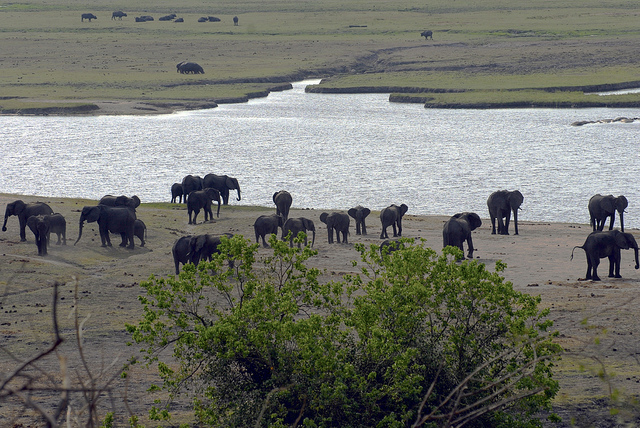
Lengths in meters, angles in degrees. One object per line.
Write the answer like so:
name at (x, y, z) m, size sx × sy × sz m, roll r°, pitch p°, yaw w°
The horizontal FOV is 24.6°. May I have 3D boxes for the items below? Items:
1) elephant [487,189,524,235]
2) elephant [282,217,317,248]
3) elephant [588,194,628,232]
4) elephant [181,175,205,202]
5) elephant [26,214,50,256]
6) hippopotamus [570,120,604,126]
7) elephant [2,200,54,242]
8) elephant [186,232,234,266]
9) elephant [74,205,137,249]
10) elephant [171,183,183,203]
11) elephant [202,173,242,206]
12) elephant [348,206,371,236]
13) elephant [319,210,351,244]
elephant at (15.409, -0.297, 122.639) m, size 2.608 × 3.715 × 1.720 m, roll 2°, pitch 4°, yaw 12°
elephant at (-1.710, 1.373, 119.719) m, size 3.080 × 2.396 × 1.785 m, roll -2°, pitch 5°, yaw -41°
elephant at (24.430, -0.399, 122.443) m, size 3.778 × 2.617 × 2.349 m, roll -2°, pitch 1°, yaw 45°
elephant at (-10.976, -2.469, 128.398) m, size 1.800 × 2.226 × 4.075 m, roll 1°, pitch 0°, yaw 28°
elephant at (-22.245, 1.604, 115.897) m, size 1.454 × 3.167 × 1.080 m, roll 1°, pitch 4°, yaw 1°
hippopotamus at (29.368, -10.301, 160.976) m, size 2.871 × 0.452 × 0.546 m, roll -5°, pitch -7°, yaw -18°
elephant at (-23.670, -0.118, 117.743) m, size 5.176 × 2.912 × 2.123 m, roll 1°, pitch 0°, yaw 4°
elephant at (-8.141, 2.502, 114.360) m, size 4.436 × 2.315 × 1.941 m, roll -1°, pitch 0°, yaw 1°
elephant at (-17.248, 0.993, 118.180) m, size 4.917 × 3.435 × 1.997 m, roll 3°, pitch 2°, yaw -5°
elephant at (-12.664, -2.039, 129.050) m, size 0.979 × 1.725 × 1.692 m, roll 1°, pitch 4°, yaw -6°
elephant at (-8.626, -2.221, 128.857) m, size 4.159 × 2.752 × 1.889 m, roll -1°, pitch -1°, yaw -39°
elephant at (3.186, 0.448, 121.630) m, size 1.641 × 2.495 × 1.057 m, roll 1°, pitch 4°, yaw -5°
elephant at (1.218, 0.731, 120.357) m, size 1.851 × 2.194 × 3.014 m, roll 8°, pitch 14°, yaw 35°
